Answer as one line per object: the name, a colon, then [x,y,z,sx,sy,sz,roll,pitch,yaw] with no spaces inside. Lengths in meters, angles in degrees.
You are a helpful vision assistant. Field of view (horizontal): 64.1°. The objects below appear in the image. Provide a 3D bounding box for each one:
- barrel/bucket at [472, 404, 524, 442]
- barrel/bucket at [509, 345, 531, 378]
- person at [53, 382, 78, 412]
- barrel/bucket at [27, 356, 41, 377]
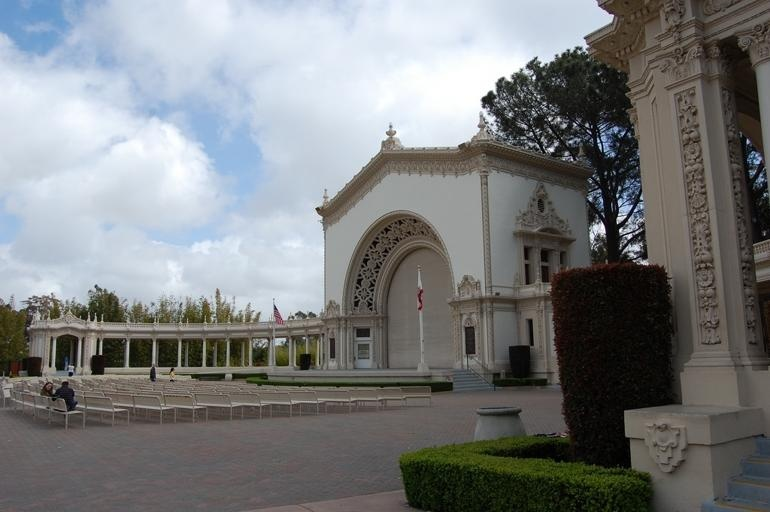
barrel/bucket: [2.592,3.917,14.148,0.932,0.784,0.945,-1,-24,0]
barrel/bucket: [8.088,6.312,36.743,1.202,1.859,0.828,-3,-11,8]
person: [-10.760,4.714,20.688,0.641,0.932,2.493,5,-12,-28]
barrel/bucket: [-32.204,10.204,56.527,1.171,1.665,2.290,6,-13,-32]
